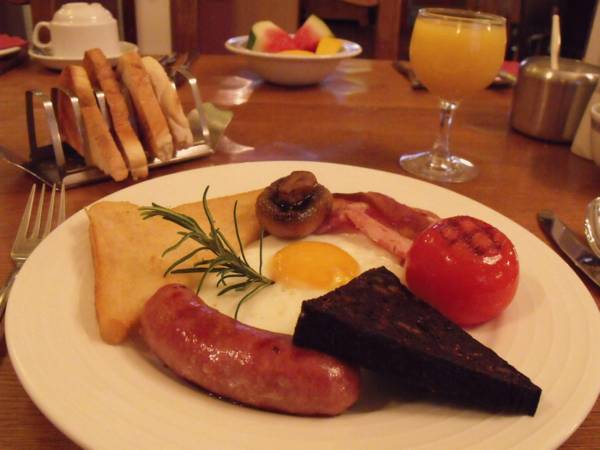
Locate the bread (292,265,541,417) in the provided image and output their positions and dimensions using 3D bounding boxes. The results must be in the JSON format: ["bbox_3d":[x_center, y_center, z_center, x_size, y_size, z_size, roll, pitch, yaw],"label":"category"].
[{"bbox_3d":[0.249,0.240,1.064,0.456,0.108,0.346,26,19,19],"label":"bread"}]

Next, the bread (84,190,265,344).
[{"bbox_3d":[-0.302,0.048,1.259,0.470,0.293,0.376,-6,26,-18],"label":"bread"}]

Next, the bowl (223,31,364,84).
[{"bbox_3d":[-0.028,-0.692,2.211,0.632,0.211,0.311,-12,25,-16],"label":"bowl"}]

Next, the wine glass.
[{"bbox_3d":[0.507,-0.440,1.806,0.361,0.579,0.330,-20,32,-38],"label":"wine glass"}]

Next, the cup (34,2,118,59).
[{"bbox_3d":[-1.040,-0.854,2.414,0.396,0.259,0.294,-6,28,-14],"label":"cup"}]

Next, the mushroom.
[{"bbox_3d":[-0.025,-0.051,1.345,0.147,0.101,0.189,13,35,4],"label":"mushroom"}]

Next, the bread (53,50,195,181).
[{"bbox_3d":[-0.577,-0.392,1.649,0.424,0.425,0.262,-16,29,-34],"label":"bread"}]
